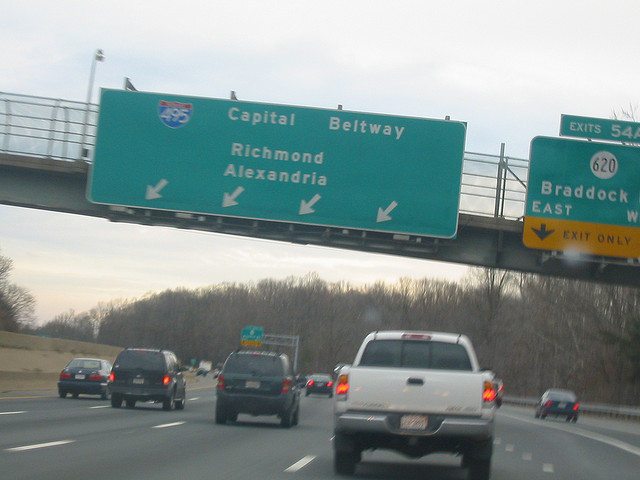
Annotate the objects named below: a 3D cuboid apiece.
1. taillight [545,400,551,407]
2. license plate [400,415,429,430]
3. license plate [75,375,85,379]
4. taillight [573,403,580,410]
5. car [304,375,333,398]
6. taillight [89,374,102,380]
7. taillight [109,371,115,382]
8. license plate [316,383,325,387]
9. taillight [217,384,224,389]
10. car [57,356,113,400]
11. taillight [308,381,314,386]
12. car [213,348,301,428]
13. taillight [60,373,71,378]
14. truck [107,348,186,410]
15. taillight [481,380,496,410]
[{"bbox_3d":[11.799,8.484,43.996,0.166,0.339,0.086,-1,-12,0],"label":"taillight"},{"bbox_3d":[1.834,3.549,16.585,0.409,0.308,0.087,-2,-8,6],"label":"license plate"},{"bbox_3d":[-9.711,5.517,34.300,0.373,0.157,0.071,8,-6,-19],"label":"license plate"},{"bbox_3d":[13.094,8.586,43.556,0.213,0.246,0.426,6,35,20],"label":"taillight"},{"bbox_3d":[-0.061,10.107,58.873,1.814,1.488,1.761,5,-6,-1],"label":"car"},{"bbox_3d":[-9.132,5.569,34.530,0.122,0.195,0.513,-1,-9,44],"label":"taillight"},{"bbox_3d":[-7.196,4.769,29.303,0.134,0.425,0.276,7,15,-16],"label":"taillight"},{"bbox_3d":[-0.005,9.928,58.216,0.396,0.243,0.280,-1,-7,9],"label":"license plate"},{"bbox_3d":[-3.016,4.435,25.717,0.202,0.146,0.075,3,-6,20],"label":"taillight"},{"bbox_3d":[-9.658,5.712,34.859,1.867,1.659,1.269,6,-6,-12],"label":"car"},{"bbox_3d":[-0.675,9.834,58.259,0.295,0.322,0.234,4,-6,12],"label":"taillight"},{"bbox_3d":[-1.946,4.560,27.088,1.621,1.736,3.058,1,-2,4],"label":"car"},{"bbox_3d":[-10.285,5.464,34.355,0.249,0.124,0.210,2,-20,-4],"label":"taillight"},{"bbox_3d":[-5.881,4.823,30.315,1.486,1.556,3.008,1,-2,7],"label":"truck"},{"bbox_3d":[3.260,3.018,16.537,0.305,0.517,0.148,-1,-1,1],"label":"taillight"}]
